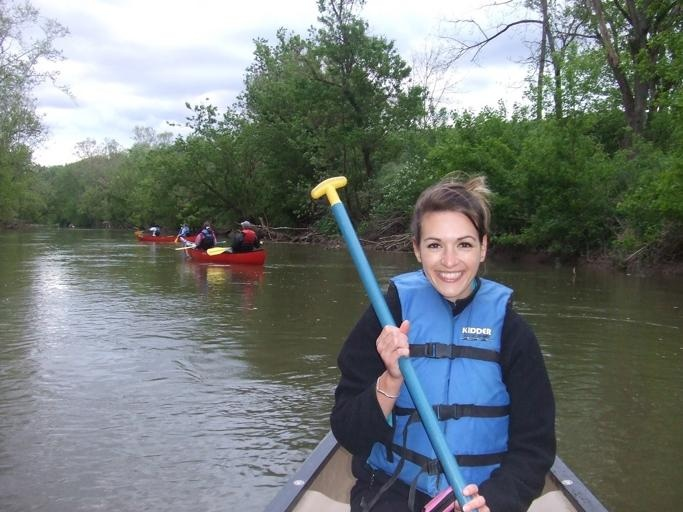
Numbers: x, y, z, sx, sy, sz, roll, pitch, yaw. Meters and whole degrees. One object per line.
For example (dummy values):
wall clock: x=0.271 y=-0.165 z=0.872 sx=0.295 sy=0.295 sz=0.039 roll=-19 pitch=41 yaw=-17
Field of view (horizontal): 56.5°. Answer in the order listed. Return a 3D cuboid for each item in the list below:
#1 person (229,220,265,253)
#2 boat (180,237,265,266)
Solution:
person: x=-2.950 y=-0.603 z=19.394 sx=0.782 sy=0.972 sz=1.844 roll=-1 pitch=7 yaw=-10
boat: x=-3.653 y=0.020 z=19.653 sx=1.012 sy=0.533 sz=2.980 roll=0 pitch=-2 yaw=-39
